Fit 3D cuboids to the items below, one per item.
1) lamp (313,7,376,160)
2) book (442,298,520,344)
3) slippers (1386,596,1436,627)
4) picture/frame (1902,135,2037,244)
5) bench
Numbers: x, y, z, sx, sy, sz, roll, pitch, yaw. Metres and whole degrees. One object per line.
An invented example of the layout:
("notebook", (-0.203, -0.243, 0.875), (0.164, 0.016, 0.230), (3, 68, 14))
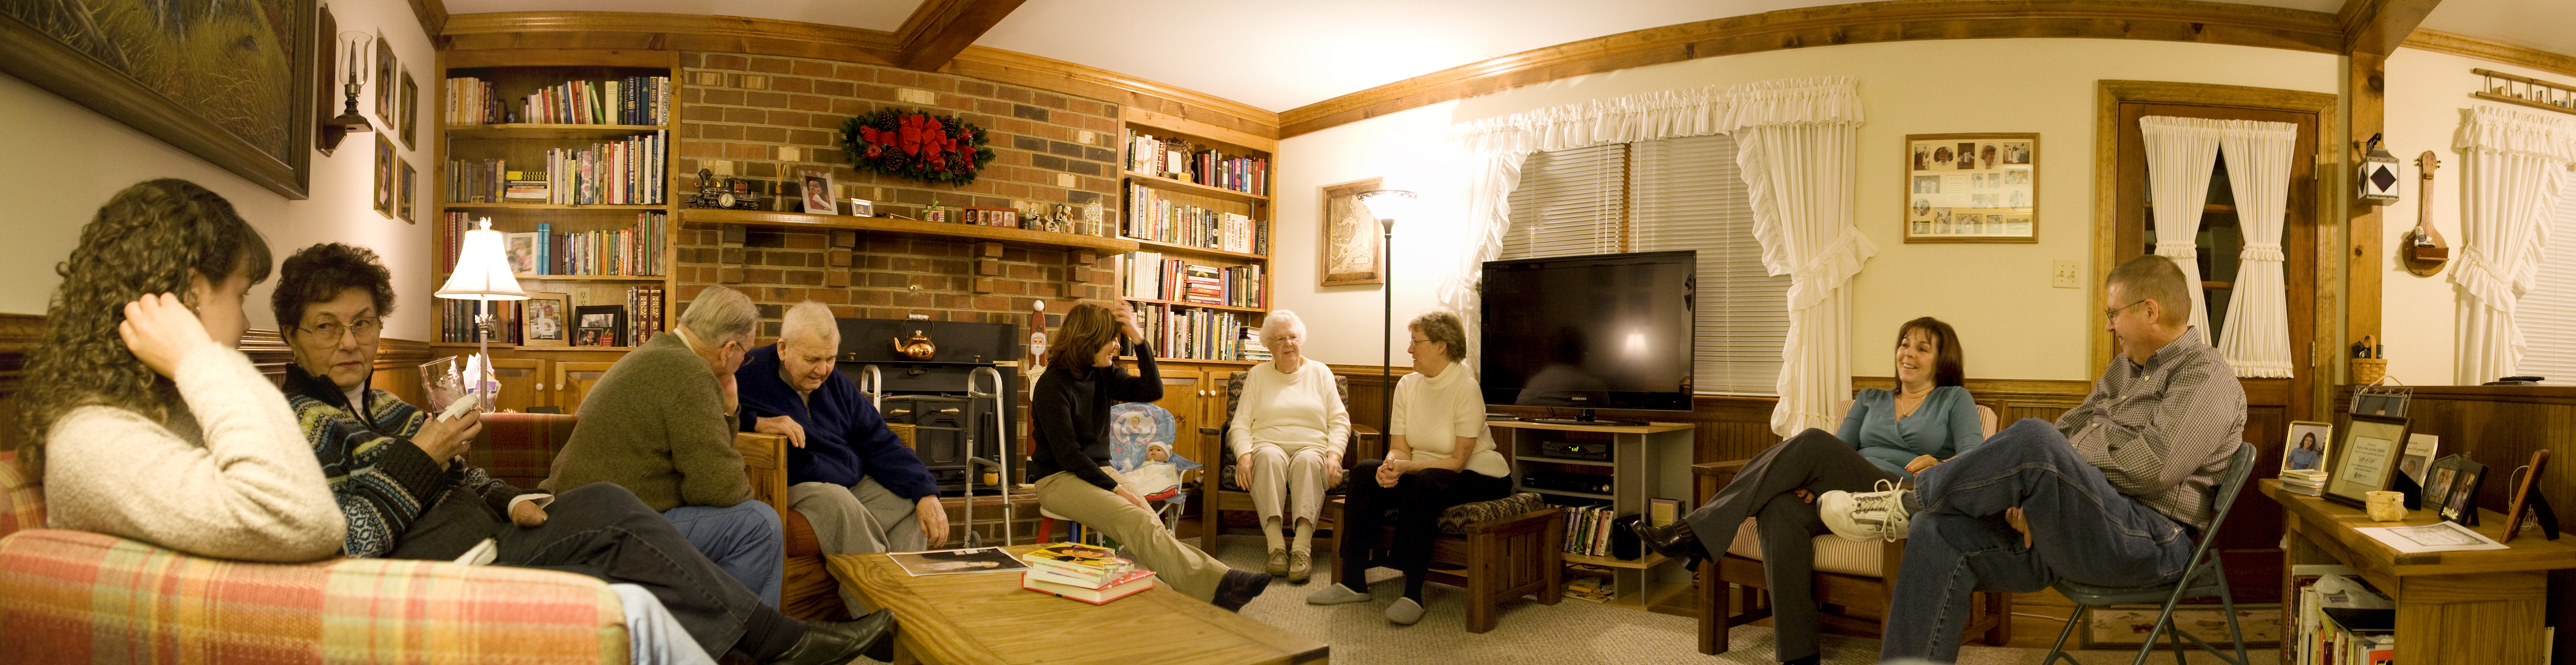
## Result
("lamp", (-11.813, -3.108, 15.177), (0.590, 1.796, 0.536), (4, -5, -21))
("book", (-11.107, -0.175, 16.604), (1.181, 0.561, 0.445), (0, -2, -5))
("slippers", (1.492, 3.491, 15.359), (0.538, 0.365, 0.303), (1, -4, 3))
("picture/frame", (9.225, -1.933, 16.269), (2.861, 1.234, 0.206), (0, -3, 4))
("bench", (2.422, 2.887, 15.542), (2.239, 1.703, 0.799), (1, -5, 4))
